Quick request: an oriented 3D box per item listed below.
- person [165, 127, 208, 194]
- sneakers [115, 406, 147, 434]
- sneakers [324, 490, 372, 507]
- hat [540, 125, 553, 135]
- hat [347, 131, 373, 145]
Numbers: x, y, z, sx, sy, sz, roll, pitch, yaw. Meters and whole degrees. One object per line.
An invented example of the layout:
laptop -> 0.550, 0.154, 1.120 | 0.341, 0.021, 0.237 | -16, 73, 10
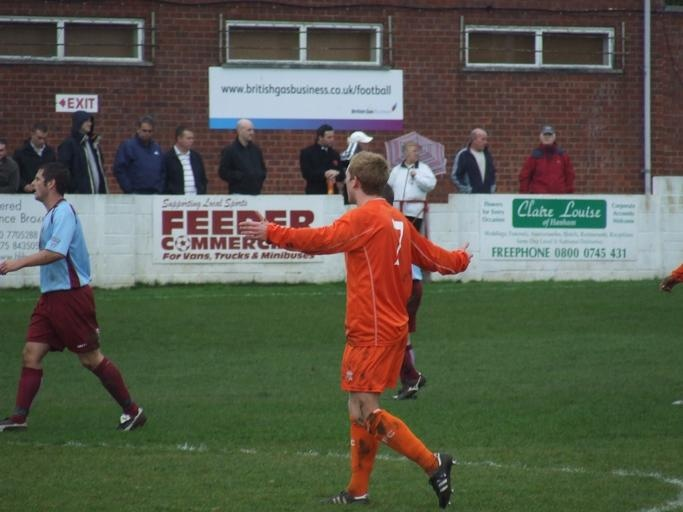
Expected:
person -> -2.762, -1.697, 33.043 | 0.763, 1.195, 0.522 | -1, 3, -15
sneakers -> -2.985, 2.341, 26.653 | 0.206, 0.260, 0.487 | 19, 49, 42
sneakers -> 0.091, 3.273, 25.189 | 0.593, 0.264, 0.224 | 5, -4, 0
hat -> 3.770, -2.291, 34.053 | 0.150, 0.153, 0.259 | 2, -17, 9
hat -> 0.310, -2.049, 32.080 | 0.379, 0.180, 0.271 | 0, 6, 26
